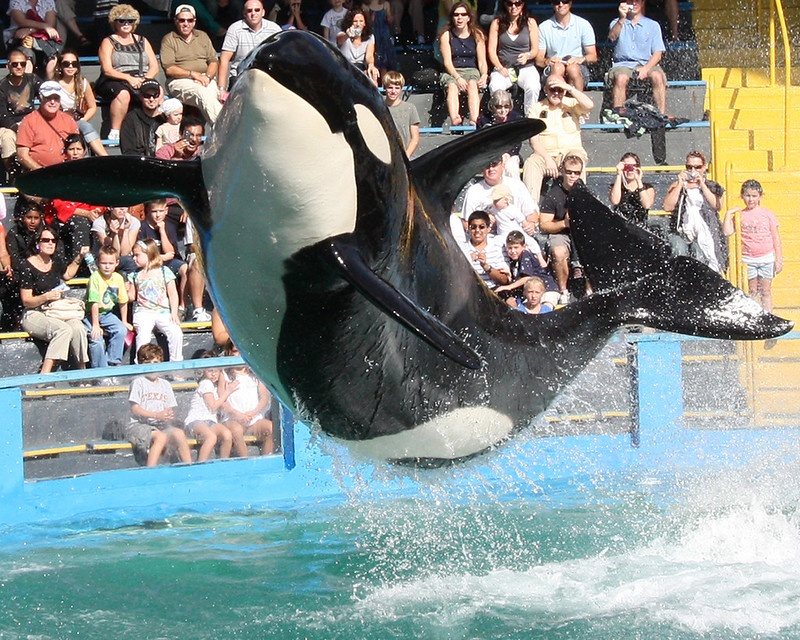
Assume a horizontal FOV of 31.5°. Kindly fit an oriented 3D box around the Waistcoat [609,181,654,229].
[{"bbox_3d":[2.831,-1.457,17.165,0.533,0.638,0.399,9,52,21],"label":"Waistcoat"}]
